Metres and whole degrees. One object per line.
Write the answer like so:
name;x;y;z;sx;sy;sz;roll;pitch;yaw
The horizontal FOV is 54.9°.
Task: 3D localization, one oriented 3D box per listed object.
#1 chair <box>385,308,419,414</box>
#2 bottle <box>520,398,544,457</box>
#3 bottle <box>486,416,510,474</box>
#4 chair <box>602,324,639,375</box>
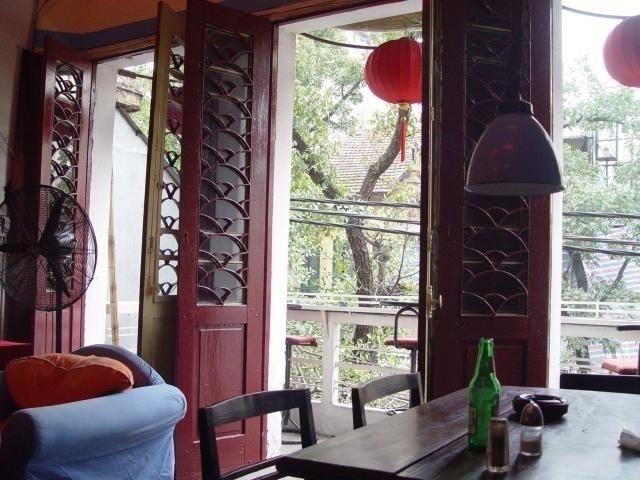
chair;0.742;0.964;5.080;0.354;0.827;0.398;-3;-11;3
bottle;0.738;0.663;2.155;0.076;0.180;0.136;-2;-5;19
bottle;0.596;0.678;2.021;0.099;0.175;0.051;3;-6;-36
chair;2.202;0.784;4.472;0.268;0.354;1.214;-2;-5;24
